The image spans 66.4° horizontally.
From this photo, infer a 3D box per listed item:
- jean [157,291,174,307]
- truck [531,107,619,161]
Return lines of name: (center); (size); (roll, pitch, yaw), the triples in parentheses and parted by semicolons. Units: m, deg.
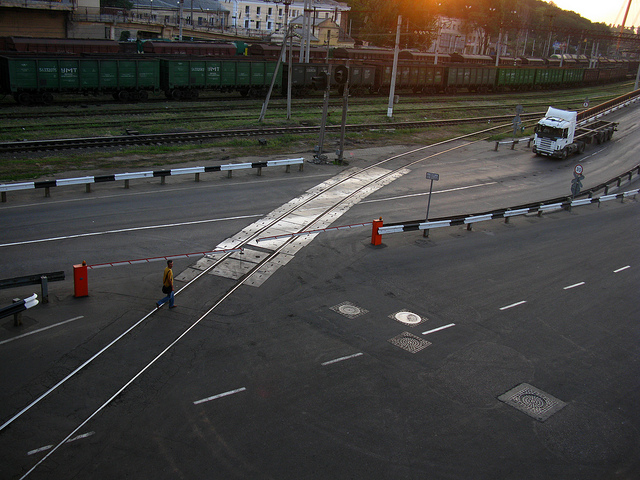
jean: (-4.906, 1.864, 15.587); (0.468, 0.542, 0.461); (-1, 18, -11)
truck: (23.335, -9.678, 44.518); (4.143, 4.134, 15.068); (15, 19, 35)
